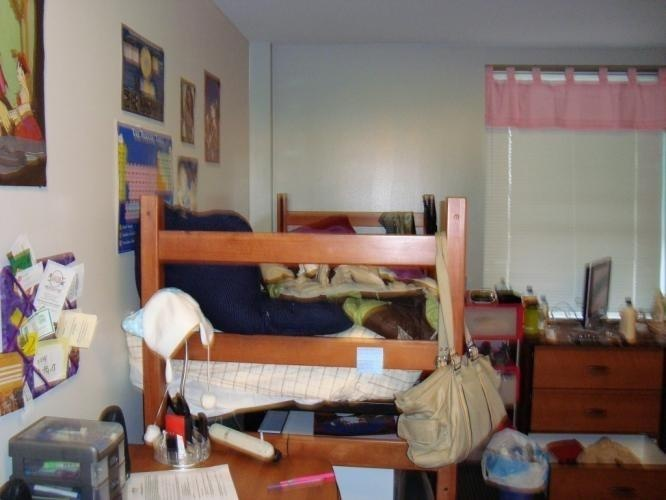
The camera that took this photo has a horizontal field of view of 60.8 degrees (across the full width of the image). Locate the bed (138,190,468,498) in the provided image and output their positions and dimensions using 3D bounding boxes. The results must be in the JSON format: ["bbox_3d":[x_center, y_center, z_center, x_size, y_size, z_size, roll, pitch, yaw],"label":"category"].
[{"bbox_3d":[-0.119,0.314,2.611,0.983,1.104,1.314,0,2,4],"label":"bed"}]

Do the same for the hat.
[{"bbox_3d":[-0.613,0.446,2.101,0.333,0.606,0.227,-2,4,-11],"label":"hat"}]

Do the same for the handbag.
[{"bbox_3d":[0.442,0.600,2.131,0.404,0.438,0.223,-1,4,8],"label":"handbag"}]

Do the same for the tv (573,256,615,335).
[{"bbox_3d":[1.728,0.303,3.735,0.103,0.436,0.475,2,1,29],"label":"tv"}]
